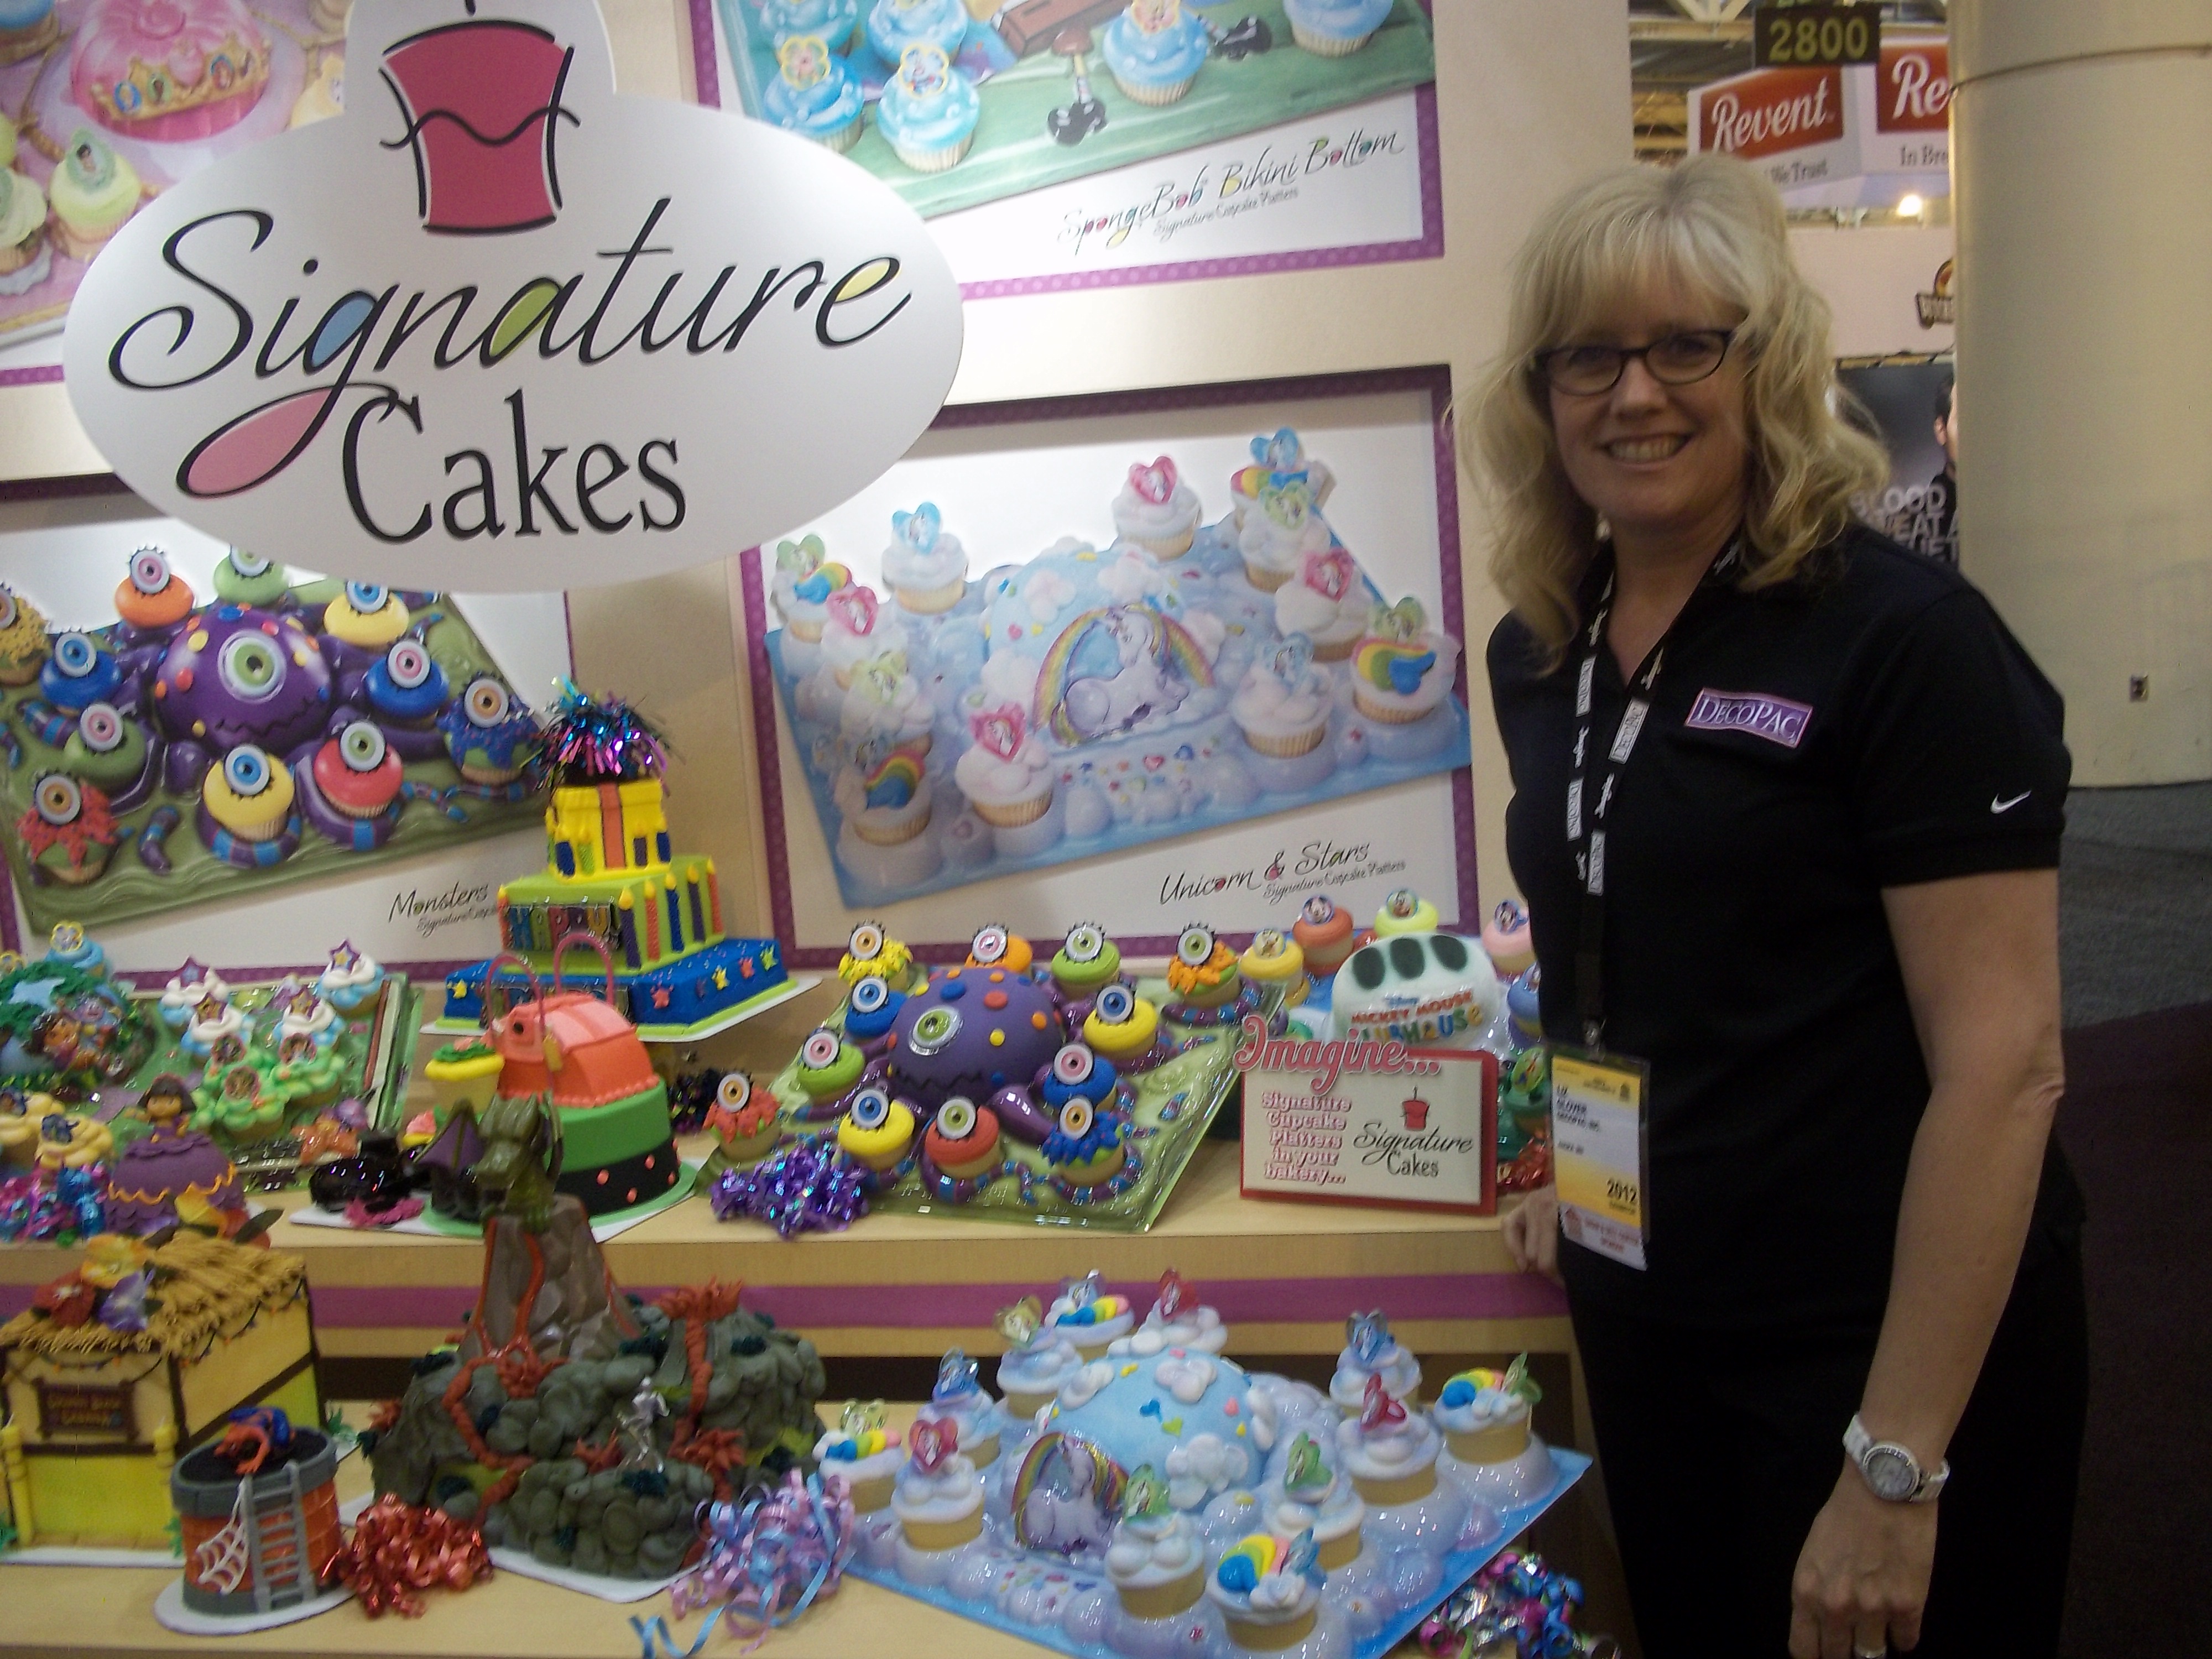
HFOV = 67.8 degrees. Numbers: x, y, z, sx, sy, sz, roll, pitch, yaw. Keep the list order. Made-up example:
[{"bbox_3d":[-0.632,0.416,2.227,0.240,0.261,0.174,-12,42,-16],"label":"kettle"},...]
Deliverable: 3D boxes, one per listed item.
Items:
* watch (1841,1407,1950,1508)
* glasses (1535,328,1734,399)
[{"bbox_3d":[0.774,0.624,1.616,0.075,0.046,0.076,29,-1,33],"label":"watch"},{"bbox_3d":[0.564,-0.500,1.749,0.193,0.066,0.040,-4,7,25],"label":"glasses"}]
